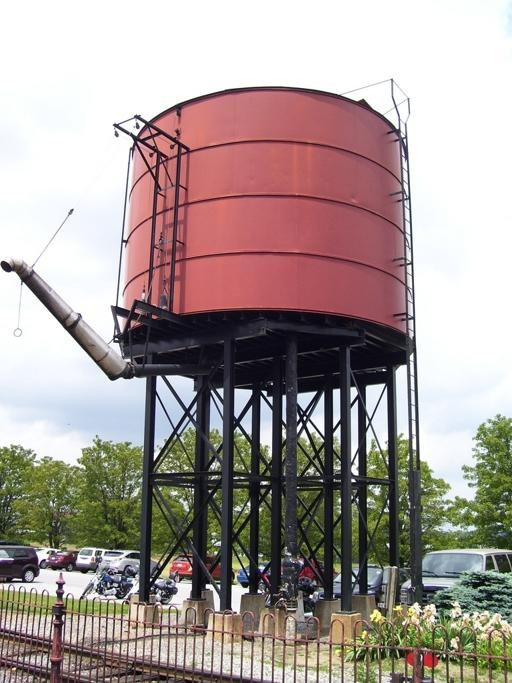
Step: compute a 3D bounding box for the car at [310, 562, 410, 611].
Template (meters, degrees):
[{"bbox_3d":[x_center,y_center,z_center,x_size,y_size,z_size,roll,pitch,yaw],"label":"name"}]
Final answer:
[{"bbox_3d":[2.677,5.887,21.084,1.539,0.861,7.481,-1,-14,4],"label":"car"}]
